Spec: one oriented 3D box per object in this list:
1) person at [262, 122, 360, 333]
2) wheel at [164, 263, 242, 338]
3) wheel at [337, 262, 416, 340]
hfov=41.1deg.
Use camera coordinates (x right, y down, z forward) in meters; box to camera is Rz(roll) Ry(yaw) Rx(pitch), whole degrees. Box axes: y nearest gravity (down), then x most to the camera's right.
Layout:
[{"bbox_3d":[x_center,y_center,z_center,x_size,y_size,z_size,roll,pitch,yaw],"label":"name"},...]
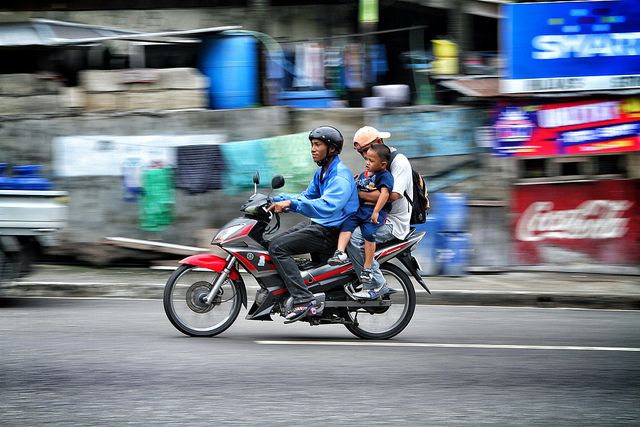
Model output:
[{"bbox_3d":[-0.123,0.164,12.195,0.876,2.763,1.352,7,20,35],"label":"person"},{"bbox_3d":[-1.661,1.242,12.188,1.577,1.014,0.426,10,-5,-6],"label":"wheel"},{"bbox_3d":[0.806,1.236,12.346,1.748,1.085,0.506,7,2,-2],"label":"wheel"}]
